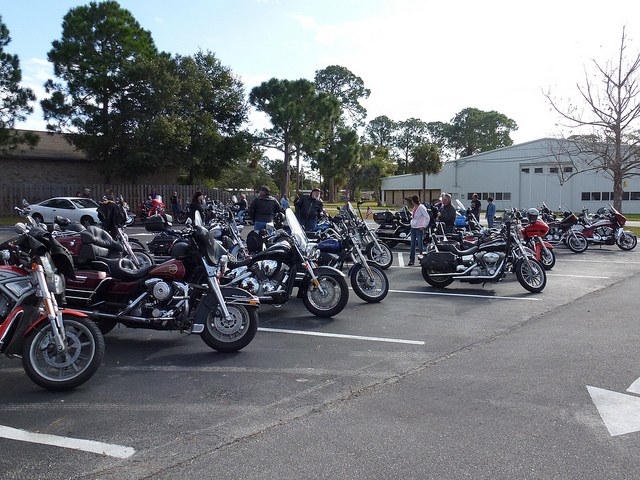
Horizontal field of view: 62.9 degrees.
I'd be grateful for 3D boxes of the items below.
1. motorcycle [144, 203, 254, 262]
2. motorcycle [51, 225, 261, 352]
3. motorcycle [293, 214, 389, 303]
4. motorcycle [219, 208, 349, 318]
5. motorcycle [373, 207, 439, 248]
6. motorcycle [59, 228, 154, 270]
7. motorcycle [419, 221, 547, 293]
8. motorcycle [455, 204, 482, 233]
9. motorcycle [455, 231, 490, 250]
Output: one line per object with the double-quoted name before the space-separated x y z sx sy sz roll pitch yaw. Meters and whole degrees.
"motorcycle" -2.559 -0.091 11.527 2.471 1.490 1.423 4 5 -8
"motorcycle" -2.275 0.589 7.077 2.660 1.642 0.981 4 1 3
"motorcycle" 0.089 0.273 10.110 2.484 1.527 0.997 8 -1 20
"motorcycle" -0.844 0.366 8.693 2.632 1.521 1.199 5 3 15
"motorcycle" 3.237 -0.462 18.364 2.621 1.575 1.331 4 5 11
"motorcycle" -4.008 0.164 9.656 1.693 0.899 0.600 8 -18 -32
"motorcycle" 3.416 0.309 11.406 2.256 1.394 1.414 -1 3 7
"motorcycle" 5.161 -0.582 18.695 1.160 0.785 0.674 0 -12 -4
"motorcycle" 3.536 0.030 12.149 0.718 0.482 0.483 -4 21 4
